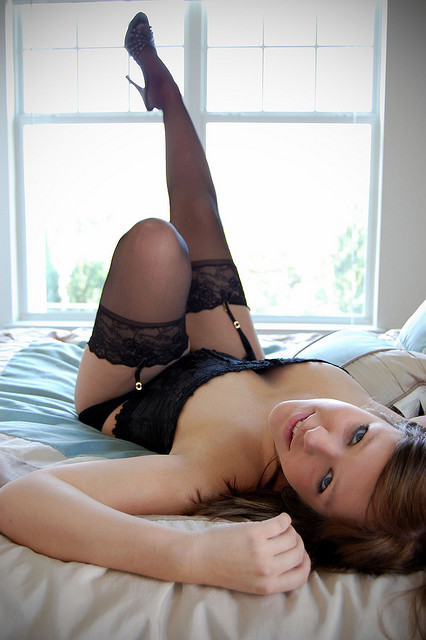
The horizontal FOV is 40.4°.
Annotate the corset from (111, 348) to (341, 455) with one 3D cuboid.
[{"bbox_3d":[-0.019,0.169,1.297,0.351,0.179,0.210,-7,16,-40],"label":"corset"}]
